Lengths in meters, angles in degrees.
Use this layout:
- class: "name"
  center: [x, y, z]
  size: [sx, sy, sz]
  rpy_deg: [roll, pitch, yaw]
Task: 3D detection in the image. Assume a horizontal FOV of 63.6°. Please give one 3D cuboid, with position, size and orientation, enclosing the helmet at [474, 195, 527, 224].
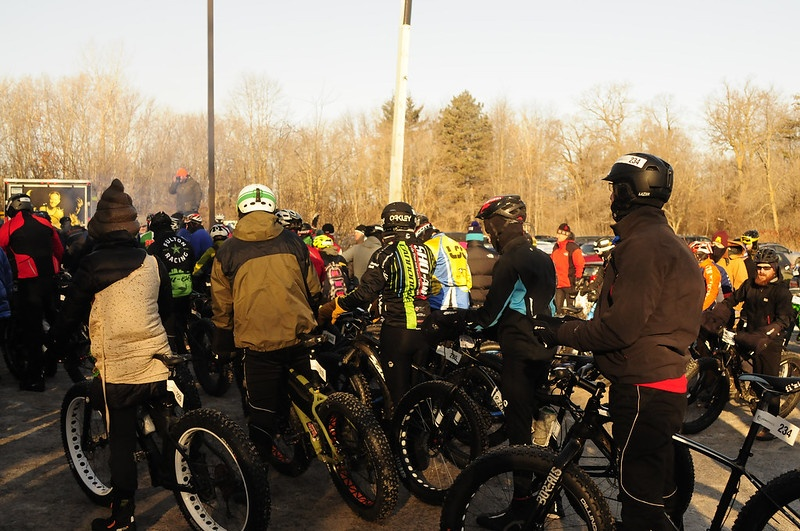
- class: "helmet"
  center: [1.028, -0.555, 6.372]
  size: [0.388, 0.195, 0.285]
  rpy_deg: [2, 0, 9]

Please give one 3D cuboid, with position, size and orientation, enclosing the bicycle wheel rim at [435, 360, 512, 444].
- class: "bicycle wheel rim"
  center: [0.908, 1.425, 6.643]
  size: [0.266, 0.874, 0.852]
  rpy_deg: [-16, -10, -35]

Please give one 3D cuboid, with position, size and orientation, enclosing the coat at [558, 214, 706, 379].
- class: "coat"
  center: [1.910, 0.159, 5.388]
  size: [1.080, 1.419, 1.311]
  rpy_deg: [2, 5, 29]

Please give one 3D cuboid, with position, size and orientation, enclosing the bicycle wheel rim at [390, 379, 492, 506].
- class: "bicycle wheel rim"
  center: [0.397, 1.704, 6.149]
  size: [1.086, 1.252, 0.242]
  rpy_deg: [-7, 8, 35]

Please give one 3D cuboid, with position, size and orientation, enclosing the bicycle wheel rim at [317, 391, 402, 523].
- class: "bicycle wheel rim"
  center: [-0.376, 1.781, 5.940]
  size: [0.757, 1.164, 0.303]
  rpy_deg: [5, 8, 37]

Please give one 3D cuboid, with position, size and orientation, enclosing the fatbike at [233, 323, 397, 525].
- class: "fatbike"
  center: [-0.637, 1.476, 6.543]
  size: [1.057, 1.393, 2.096]
  rpy_deg: [-22, 27, -31]

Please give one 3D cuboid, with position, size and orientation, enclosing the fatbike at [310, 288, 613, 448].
- class: "fatbike"
  center: [0.846, 1.049, 6.354]
  size: [2.747, 1.767, 1.581]
  rpy_deg: [5, -4, 20]

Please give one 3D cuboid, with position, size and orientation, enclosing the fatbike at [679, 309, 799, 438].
- class: "fatbike"
  center: [4.436, 1.578, 8.876]
  size: [2.333, 1.458, 1.261]
  rpy_deg: [13, 1, -33]

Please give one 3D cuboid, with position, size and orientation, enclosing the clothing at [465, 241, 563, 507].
- class: "clothing"
  center: [1.070, 0.873, 6.454]
  size: [0.797, 2.301, 0.737]
  rpy_deg: [6, 14, 37]

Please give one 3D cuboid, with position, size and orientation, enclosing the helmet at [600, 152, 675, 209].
- class: "helmet"
  center: [1.865, -0.644, 5.026]
  size: [0.500, 0.372, 0.380]
  rpy_deg: [-2, 2, 22]

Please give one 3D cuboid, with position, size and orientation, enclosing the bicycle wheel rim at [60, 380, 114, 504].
- class: "bicycle wheel rim"
  center: [-2.968, 1.711, 6.178]
  size: [0.300, 0.890, 0.884]
  rpy_deg: [-17, 55, -40]
